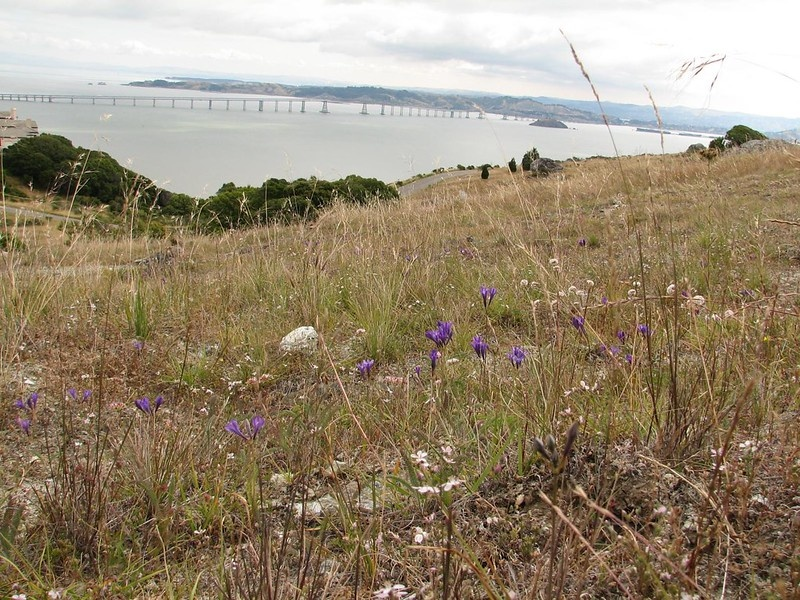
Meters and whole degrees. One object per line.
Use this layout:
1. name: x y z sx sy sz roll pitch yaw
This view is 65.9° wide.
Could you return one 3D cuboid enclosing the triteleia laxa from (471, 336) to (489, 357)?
1. triteleia laxa: 0.394 0.230 3.099 0.083 0.123 0.105 -5 14 7
